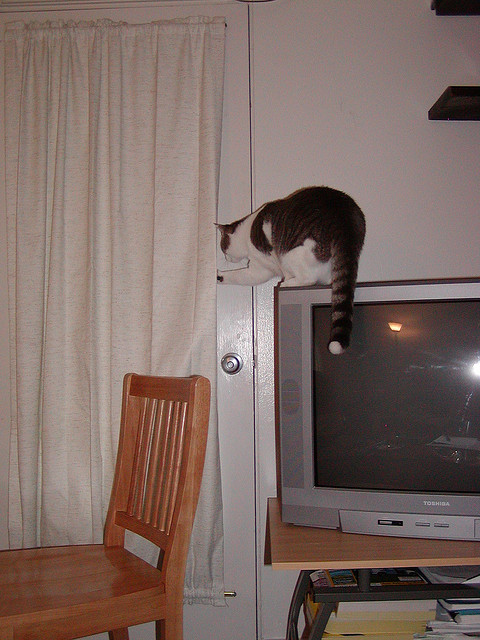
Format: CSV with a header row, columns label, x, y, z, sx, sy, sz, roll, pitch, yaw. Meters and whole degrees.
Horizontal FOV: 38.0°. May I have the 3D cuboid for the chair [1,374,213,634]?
label,x,y,z,sx,sy,sz,roll,pitch,yaw
chair,-0.333,0.408,1.691,0.430,0.578,0.357,5,-1,-19

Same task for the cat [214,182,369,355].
label,x,y,z,sx,sy,sz,roll,pitch,yaw
cat,0.200,-0.201,1.917,0.227,0.302,0.780,2,6,-27

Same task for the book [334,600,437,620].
label,x,y,z,sx,sy,sz,roll,pitch,yaw
book,0.347,0.687,1.657,0.241,0.041,0.015,5,-1,-5
